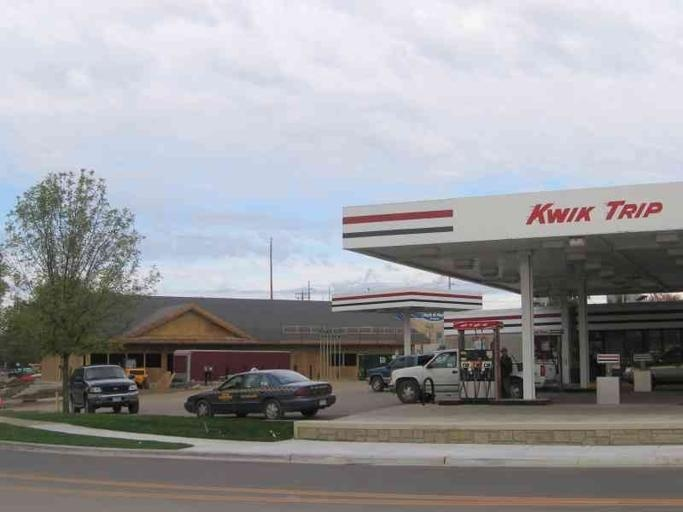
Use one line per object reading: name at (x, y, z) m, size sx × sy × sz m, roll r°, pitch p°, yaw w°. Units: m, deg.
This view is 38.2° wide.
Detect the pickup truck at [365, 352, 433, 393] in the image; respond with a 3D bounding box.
pickup truck at (3.227, 5.795, 49.614) m, size 3.823 × 1.604 × 2.001 m, roll -6°, pitch 1°, yaw 25°

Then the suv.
suv at (-10.191, 5.492, 40.739) m, size 2.751 × 2.027 × 2.901 m, roll 4°, pitch -6°, yaw -36°

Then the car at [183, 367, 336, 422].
car at (-2.953, 5.019, 35.799) m, size 4.538 × 1.685 × 1.503 m, roll -5°, pitch -6°, yaw 31°

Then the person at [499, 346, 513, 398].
person at (6.204, 4.428, 37.262) m, size 0.414 × 1.861 × 1.378 m, roll -3°, pitch -5°, yaw 9°
